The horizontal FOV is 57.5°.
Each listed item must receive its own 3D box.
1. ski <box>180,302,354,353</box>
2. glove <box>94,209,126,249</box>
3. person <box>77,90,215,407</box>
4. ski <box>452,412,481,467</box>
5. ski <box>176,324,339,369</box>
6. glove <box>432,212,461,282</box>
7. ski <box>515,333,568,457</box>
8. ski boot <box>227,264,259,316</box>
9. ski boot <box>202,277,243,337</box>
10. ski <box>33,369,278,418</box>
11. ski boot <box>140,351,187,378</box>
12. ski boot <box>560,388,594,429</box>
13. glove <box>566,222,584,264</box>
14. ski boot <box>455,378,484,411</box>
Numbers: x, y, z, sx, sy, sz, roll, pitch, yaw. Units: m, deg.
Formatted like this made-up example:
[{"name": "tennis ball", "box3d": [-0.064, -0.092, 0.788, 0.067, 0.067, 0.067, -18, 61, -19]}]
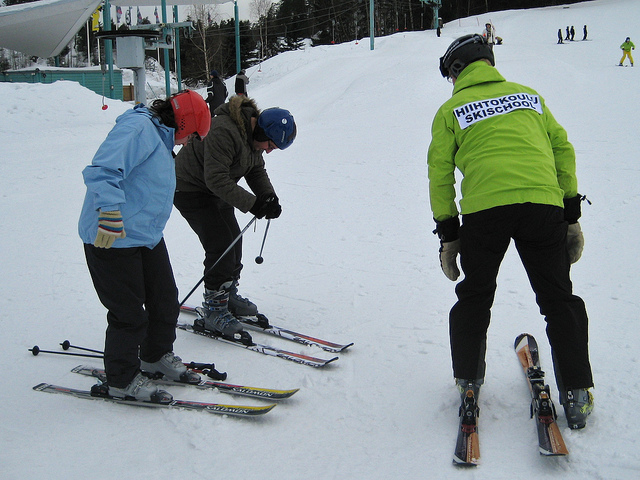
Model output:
[{"name": "ski", "box3d": [-0.488, 0.786, 5.127, 1.166, 0.102, 0.126, 16, 33, 24]}, {"name": "glove", "box3d": [-1.381, -0.074, 3.813, 0.176, 0.246, 0.098, 1, -2, -7]}, {"name": "person", "box3d": [-1.213, 0.068, 4.080, 0.851, 2.167, 0.445, -7, 13, -25]}, {"name": "ski", "box3d": [0.935, 1.213, 3.659, 0.167, 0.462, 0.036, 1, 20, 11]}, {"name": "ski", "box3d": [-0.539, 0.900, 4.866, 1.127, 0.092, 0.134, 13, 24, 24]}, {"name": "glove", "box3d": [0.899, 0.043, 4.112, 0.244, 0.426, 0.123, 0, 15, -10]}, {"name": "ski", "box3d": [1.504, 0.999, 4.033, 0.140, 0.154, 1.057, -9, 31, 9]}, {"name": "ski boot", "box3d": [-0.758, 0.483, 5.369, 0.451, 0.492, 0.175, 6, 10, 27]}, {"name": "ski boot", "box3d": [-0.850, 0.615, 5.123, 0.473, 0.524, 0.217, 10, 6, 29]}, {"name": "ski", "box3d": [-1.210, 1.117, 4.192, 1.307, 0.129, 0.157, 6, 16, 1]}, {"name": "ski boot", "box3d": [-1.127, 0.944, 4.437, 0.428, 0.206, 0.152, 0, 40, -6]}, {"name": "ski boot", "box3d": [1.664, 1.067, 3.812, 0.120, 0.248, 0.355, -8, 18, 26]}, {"name": "glove", "box3d": [1.785, 0.024, 4.073, 0.098, 0.285, 0.229, 11, 17, 43]}, {"name": "ski boot", "box3d": [0.995, 1.051, 3.920, 0.149, 0.226, 0.250, 2, 13, 14]}]
